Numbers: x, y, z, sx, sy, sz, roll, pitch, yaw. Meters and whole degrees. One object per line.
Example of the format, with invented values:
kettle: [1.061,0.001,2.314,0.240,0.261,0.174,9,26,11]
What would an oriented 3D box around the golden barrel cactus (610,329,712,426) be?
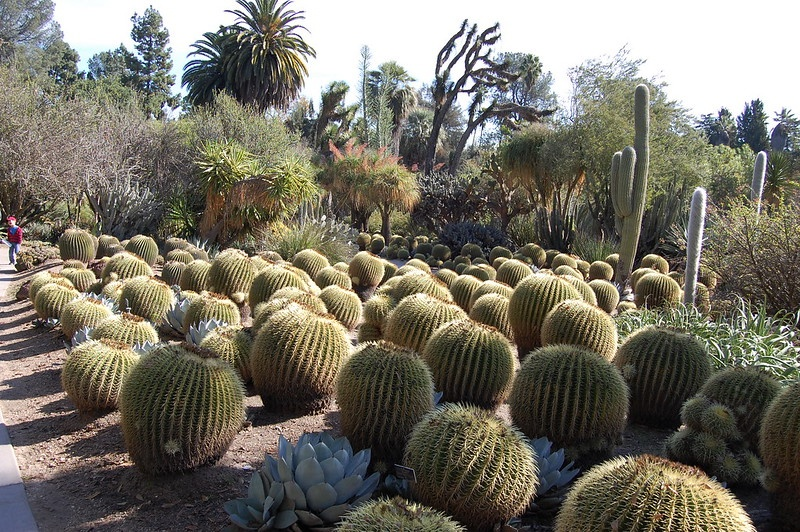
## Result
golden barrel cactus: [3.107,1.417,7.311,0.985,1.120,1.057,4,-10,15]

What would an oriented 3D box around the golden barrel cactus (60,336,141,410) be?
golden barrel cactus: [-3.427,1.107,7.050,0.744,0.846,0.790,11,5,2]

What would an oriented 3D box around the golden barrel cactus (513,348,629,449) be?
golden barrel cactus: [1.786,1.284,6.451,0.964,1.102,1.025,0,-4,4]

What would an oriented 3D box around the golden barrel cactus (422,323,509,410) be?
golden barrel cactus: [0.757,1.086,6.629,0.863,0.977,0.914,5,1,16]

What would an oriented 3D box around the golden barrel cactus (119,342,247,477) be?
golden barrel cactus: [-2.192,1.395,6.322,1.126,1.279,1.166,5,1,36]

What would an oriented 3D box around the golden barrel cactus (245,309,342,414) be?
golden barrel cactus: [-1.201,1.064,7.138,1.024,1.167,1.062,2,2,-6]

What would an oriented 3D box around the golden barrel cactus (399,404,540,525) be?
golden barrel cactus: [0.700,1.816,5.810,0.978,1.098,1.038,14,12,8]
